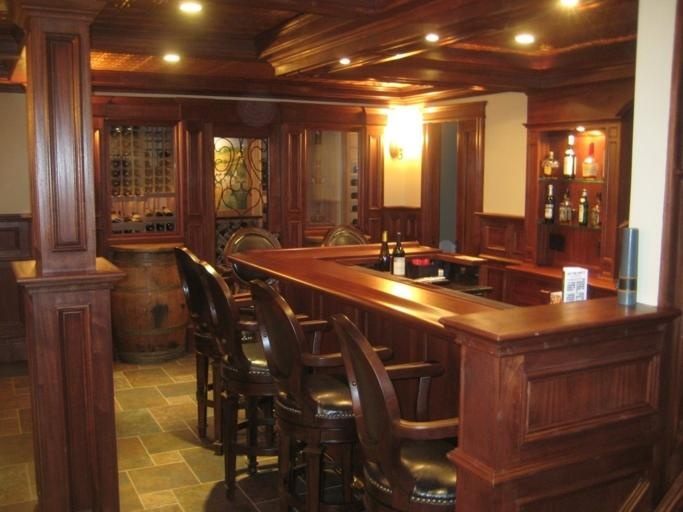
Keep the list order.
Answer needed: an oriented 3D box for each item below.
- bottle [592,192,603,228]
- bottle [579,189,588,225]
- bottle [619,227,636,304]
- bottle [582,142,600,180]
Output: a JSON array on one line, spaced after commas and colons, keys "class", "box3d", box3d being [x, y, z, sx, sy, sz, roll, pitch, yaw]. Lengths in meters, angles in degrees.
[{"class": "bottle", "box3d": [2.467, -0.439, 5.425, 0.057, 0.329, 0.231, 2, 9, 12]}, {"class": "bottle", "box3d": [2.409, -0.484, 5.573, 0.088, 0.347, 0.127, 4, 10, 24]}, {"class": "bottle", "box3d": [1.280, 0.048, 2.504, 0.071, 0.333, 0.133, 5, 11, 27]}, {"class": "bottle", "box3d": [2.408, -0.931, 5.501, 0.144, 0.323, 0.191, -4, 10, -21]}]
